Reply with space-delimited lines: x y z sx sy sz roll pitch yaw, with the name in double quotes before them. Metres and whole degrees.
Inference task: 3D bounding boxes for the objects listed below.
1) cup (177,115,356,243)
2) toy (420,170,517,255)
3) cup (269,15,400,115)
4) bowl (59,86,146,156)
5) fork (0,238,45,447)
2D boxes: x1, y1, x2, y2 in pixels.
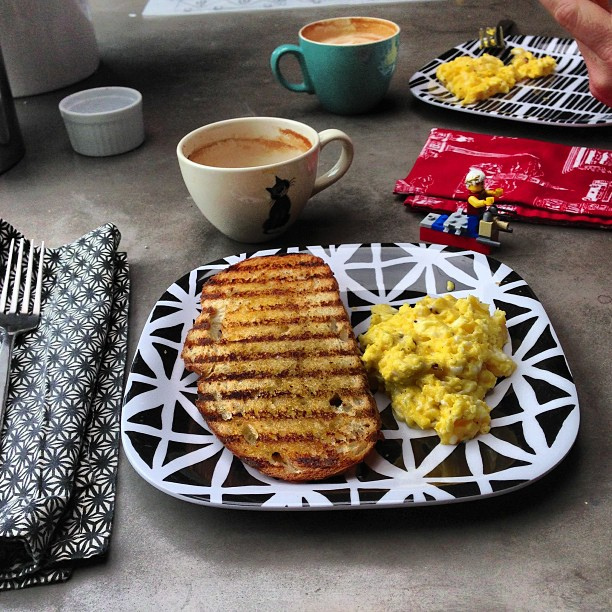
"cup" -0.052 -0.199 1.022 0.279 0.130 0.179 -11 42 -7
"toy" 0.242 -0.142 0.972 0.150 0.098 0.090 14 35 34
"cup" 0.051 -0.494 1.381 0.287 0.145 0.162 -8 45 -2
"bowl" -0.422 -0.372 1.351 0.163 0.081 0.157 0 31 0
"fork" -0.350 0.038 0.851 0.054 0.038 0.317 0 45 -11
